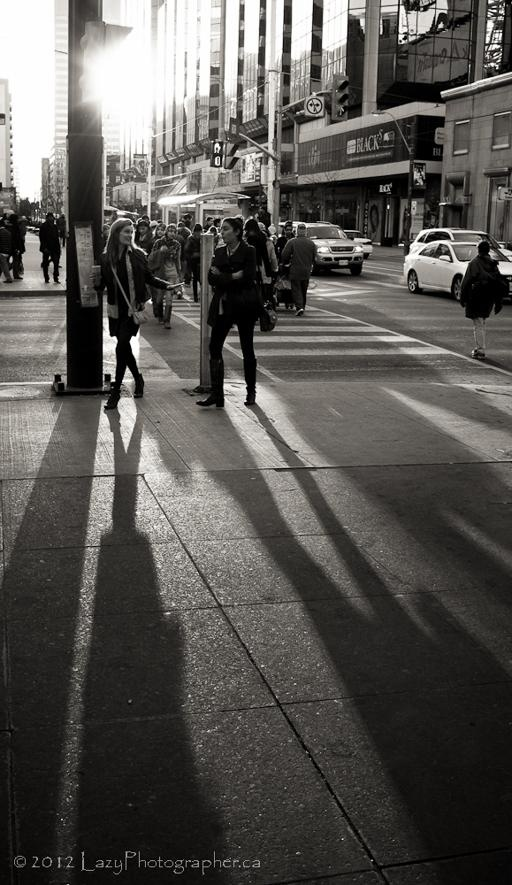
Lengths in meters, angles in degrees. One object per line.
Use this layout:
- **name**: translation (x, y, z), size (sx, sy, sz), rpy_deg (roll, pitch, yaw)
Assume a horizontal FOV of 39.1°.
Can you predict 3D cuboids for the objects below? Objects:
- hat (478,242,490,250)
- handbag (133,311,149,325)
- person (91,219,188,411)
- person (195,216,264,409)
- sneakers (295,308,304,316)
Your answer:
- **hat**: translation (3.921, -3.337, 12.382), size (0.131, 0.188, 0.158), rpy_deg (1, 5, 9)
- **handbag**: translation (-1.320, -1.451, 8.418), size (0.183, 0.152, 0.215), rpy_deg (5, 8, 28)
- **person**: translation (-1.588, -1.508, 8.676), size (0.773, 2.190, 1.006), rpy_deg (3, 6, 17)
- **person**: translation (-0.278, -1.459, 8.403), size (0.721, 2.177, 0.762), rpy_deg (0, 5, -12)
- **sneakers**: translation (1.163, -3.444, 19.090), size (0.173, 0.272, 0.553), rpy_deg (-1, 6, -3)
